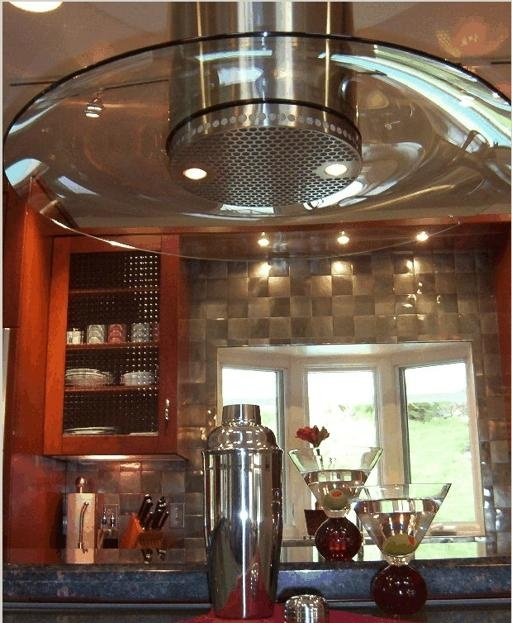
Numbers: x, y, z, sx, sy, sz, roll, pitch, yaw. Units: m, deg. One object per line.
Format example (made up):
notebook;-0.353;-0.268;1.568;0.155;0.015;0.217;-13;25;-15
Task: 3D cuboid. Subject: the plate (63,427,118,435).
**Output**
plate;-0.878;0.627;3.108;0.272;0.041;0.063;-3;-10;11

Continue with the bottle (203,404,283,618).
bottle;-0.022;0.305;0.921;0.111;0.317;0.107;-1;-11;0

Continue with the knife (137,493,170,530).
knife;-0.530;1.015;2.989;0.148;0.171;0.198;1;-10;-11

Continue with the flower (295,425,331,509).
flower;0.269;0.615;2.484;0.124;0.254;0.123;24;-55;-34

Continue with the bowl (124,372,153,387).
bowl;-0.643;0.362;3.141;0.193;0.082;0.044;-3;-11;9
